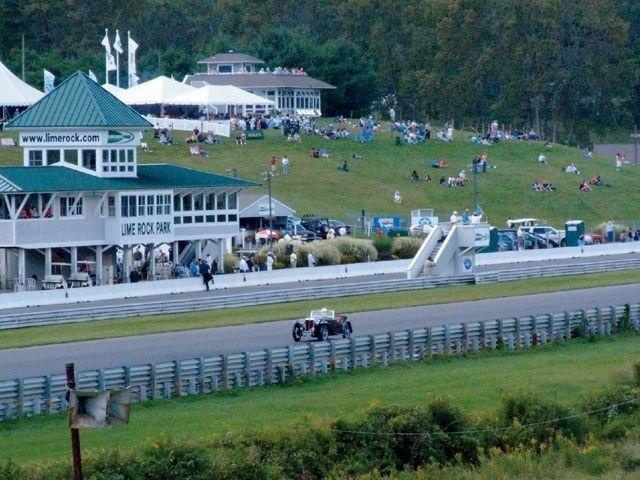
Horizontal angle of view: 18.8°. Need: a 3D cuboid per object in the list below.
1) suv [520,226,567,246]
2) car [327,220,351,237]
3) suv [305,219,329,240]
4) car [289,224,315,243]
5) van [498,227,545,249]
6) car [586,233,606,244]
[{"bbox_3d":[21.470,0.466,186.935,3.033,1.751,2.158,-1,9,0],"label":"suv"},{"bbox_3d":[1.953,-0.609,186.763,1.892,0.946,1.251,4,-3,-29],"label":"car"},{"bbox_3d":[-0.192,-0.639,186.314,1.786,2.029,1.505,-7,3,24],"label":"suv"},{"bbox_3d":[-1.557,-0.110,184.340,1.194,1.233,2.252,-2,2,-35],"label":"car"},{"bbox_3d":[19.032,0.385,185.236,5.004,1.847,1.116,-5,6,-28],"label":"van"},{"bbox_3d":[26.681,0.310,189.431,1.512,0.888,4.422,0,6,17],"label":"car"}]
